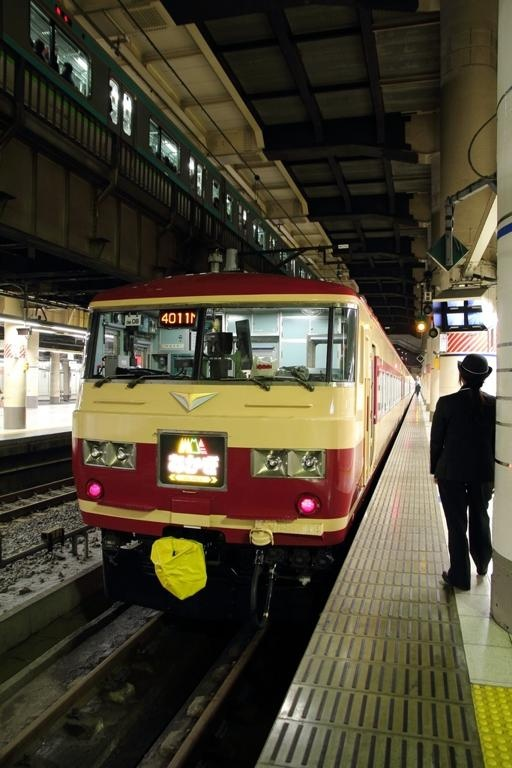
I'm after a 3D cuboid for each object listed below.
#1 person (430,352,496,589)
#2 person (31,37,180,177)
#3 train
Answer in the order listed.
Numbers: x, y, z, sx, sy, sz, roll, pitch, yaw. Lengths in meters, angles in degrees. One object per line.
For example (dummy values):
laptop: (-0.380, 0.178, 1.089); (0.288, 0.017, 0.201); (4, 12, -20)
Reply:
person: (1.470, 0.594, 3.691); (0.471, 1.609, 0.380); (0, -3, -21)
person: (-2.865, -5.429, 10.597); (0.426, 0.758, 3.000); (0, -3, 17)
train: (-0.340, 0.416, 3.921); (2.031, 2.574, 0.725); (-2, -3, 27)
